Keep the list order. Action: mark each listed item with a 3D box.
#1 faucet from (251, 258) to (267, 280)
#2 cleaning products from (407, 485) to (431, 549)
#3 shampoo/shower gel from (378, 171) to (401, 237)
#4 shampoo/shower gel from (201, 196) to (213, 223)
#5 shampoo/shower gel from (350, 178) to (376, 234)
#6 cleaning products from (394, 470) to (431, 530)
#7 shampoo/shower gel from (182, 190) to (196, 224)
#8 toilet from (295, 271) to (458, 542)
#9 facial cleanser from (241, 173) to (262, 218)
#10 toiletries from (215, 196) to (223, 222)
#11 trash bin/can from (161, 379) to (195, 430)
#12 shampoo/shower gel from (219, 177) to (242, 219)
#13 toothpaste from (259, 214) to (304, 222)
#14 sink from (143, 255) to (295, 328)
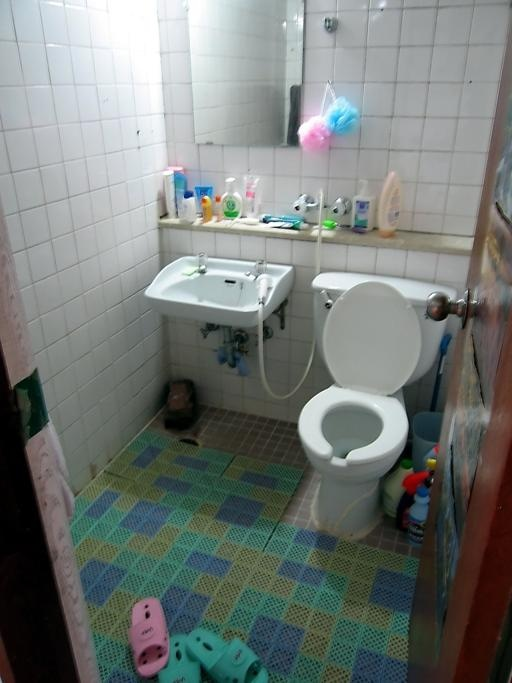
[{"bbox_3d":[0.008,-0.344,2.276,0.076,0.149,0.080,-1,32,-1],"label":"faucet"},{"bbox_3d":[0.640,0.686,1.870,0.062,0.253,0.061,6,26,14],"label":"cleaning products"},{"bbox_3d":[0.602,-0.616,2.131,0.106,0.265,0.127,6,26,14],"label":"shampoo/shower gel"},{"bbox_3d":[-0.252,-0.668,2.405,0.051,0.120,0.064,-6,26,-11],"label":"shampoo/shower gel"},{"bbox_3d":[0.500,-0.625,2.200,0.098,0.221,0.104,-3,19,-16],"label":"shampoo/shower gel"},{"bbox_3d":[0.651,0.654,1.919,0.128,0.247,0.049,-12,31,2],"label":"cleaning products"},{"bbox_3d":[-0.343,-0.674,2.402,0.048,0.151,0.105,-9,38,-24],"label":"shampoo/shower gel"},{"bbox_3d":[0.460,0.258,2.004,0.603,0.943,0.780,10,28,20],"label":"toilet"},{"bbox_3d":[-0.026,-0.720,2.375,0.103,0.208,0.087,4,26,10],"label":"facial cleanser"},{"bbox_3d":[-0.192,-0.679,2.431,0.042,0.152,0.046,-5,42,-6],"label":"toiletries"},{"bbox_3d":[-0.427,0.297,2.661,0.146,0.304,0.091,0,21,-12],"label":"trash bin/can"},{"bbox_3d":[-0.125,-0.713,2.391,0.103,0.195,0.040,-4,25,-6],"label":"shampoo/shower gel"},{"bbox_3d":[0.137,-0.612,2.361,0.146,0.047,0.038,4,27,10],"label":"toothpaste"},{"bbox_3d":[-0.212,-0.243,2.242,0.535,0.237,0.394,9,43,21],"label":"sink"}]
